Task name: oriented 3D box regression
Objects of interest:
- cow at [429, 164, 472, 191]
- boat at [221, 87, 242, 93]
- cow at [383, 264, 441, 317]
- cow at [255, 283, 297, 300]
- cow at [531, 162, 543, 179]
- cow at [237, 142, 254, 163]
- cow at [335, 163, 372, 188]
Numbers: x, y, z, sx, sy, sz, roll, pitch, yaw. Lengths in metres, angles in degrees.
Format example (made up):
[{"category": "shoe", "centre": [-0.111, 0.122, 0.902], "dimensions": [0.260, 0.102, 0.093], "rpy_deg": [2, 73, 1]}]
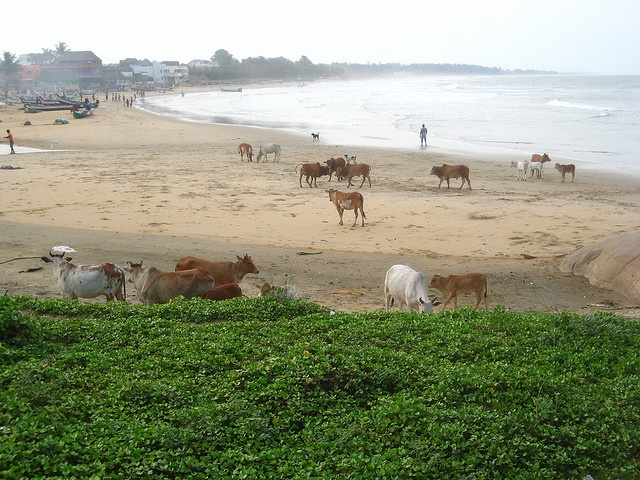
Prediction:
[{"category": "cow", "centre": [6.604, -3.249, 28.378], "dimensions": [1.880, 1.168, 2.013], "rpy_deg": [-2, 14, -1]}, {"category": "boat", "centre": [-21.239, -36.085, 136.293], "dimensions": [4.650, 1.260, 11.857], "rpy_deg": [-4, 14, -10]}, {"category": "cow", "centre": [2.136, 1.325, 14.013], "dimensions": [0.634, 1.283, 1.766], "rpy_deg": [-8, 15, -21]}, {"category": "cow", "centre": [-0.995, 1.214, 13.617], "dimensions": [0.562, 0.270, 0.539], "rpy_deg": [3, 13, -2]}, {"category": "cow", "centre": [11.912, -3.891, 31.031], "dimensions": [0.672, 0.881, 1.603], "rpy_deg": [4, 15, 21]}, {"category": "cow", "centre": [-4.607, -5.503, 35.249], "dimensions": [0.723, 1.042, 2.268], "rpy_deg": [-5, 14, -10]}, {"category": "cow", "centre": [1.753, -3.372, 28.695], "dimensions": [1.788, 1.116, 2.529], "rpy_deg": [-1, 14, 0]}]
